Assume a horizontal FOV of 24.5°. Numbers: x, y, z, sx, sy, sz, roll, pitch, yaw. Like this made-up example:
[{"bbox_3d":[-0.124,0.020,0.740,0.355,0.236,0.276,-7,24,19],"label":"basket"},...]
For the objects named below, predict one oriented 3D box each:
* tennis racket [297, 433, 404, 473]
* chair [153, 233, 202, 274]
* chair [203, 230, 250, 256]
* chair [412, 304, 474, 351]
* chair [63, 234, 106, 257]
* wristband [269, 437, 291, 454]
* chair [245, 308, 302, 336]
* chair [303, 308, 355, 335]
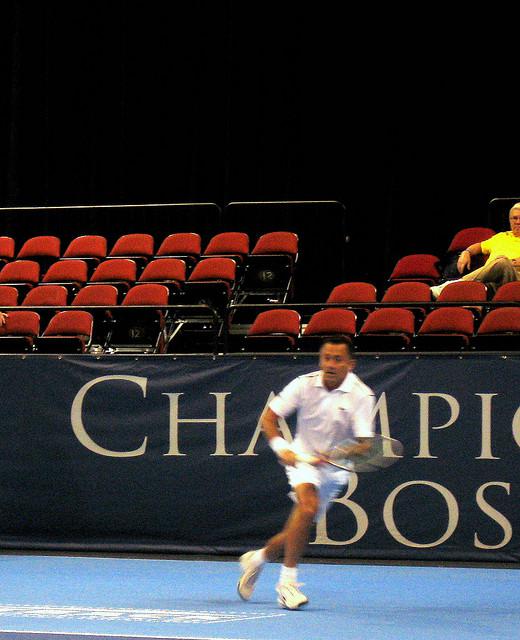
[{"bbox_3d":[0.534,0.792,7.328,0.721,0.030,0.241,2,-49,8],"label":"tennis racket"},{"bbox_3d":[-1.081,-0.859,14.693,0.558,0.616,0.579,1,-4,15],"label":"chair"},{"bbox_3d":[-0.386,-0.920,14.604,0.406,0.427,0.417,0,-1,13],"label":"chair"},{"bbox_3d":[1.661,0.088,10.799,0.437,0.514,0.510,7,-11,21],"label":"chair"},{"bbox_3d":[-2.143,-0.896,14.818,0.365,0.394,0.384,1,-1,4],"label":"chair"},{"bbox_3d":[0.115,0.769,7.460,0.100,0.023,0.098,36,7,2],"label":"wristband"},{"bbox_3d":[0.150,0.000,11.500,0.327,0.362,0.357,0,-10,12],"label":"chair"},{"bbox_3d":[0.684,0.016,11.311,0.360,0.353,0.291,3,-8,5],"label":"chair"}]
